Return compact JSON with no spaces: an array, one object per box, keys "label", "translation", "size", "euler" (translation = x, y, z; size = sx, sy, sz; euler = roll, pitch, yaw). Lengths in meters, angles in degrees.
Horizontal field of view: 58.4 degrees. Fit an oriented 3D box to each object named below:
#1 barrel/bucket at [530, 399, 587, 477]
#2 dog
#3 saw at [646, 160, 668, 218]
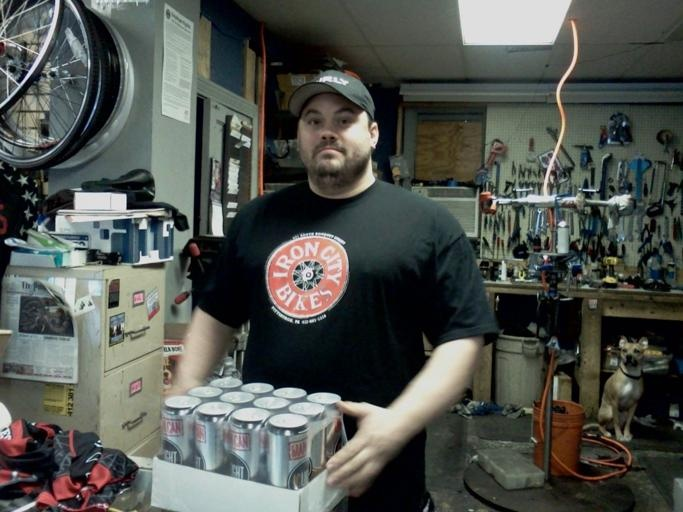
[{"label":"barrel/bucket","translation":[1.528,1.264,4.426],"size":[0.431,0.530,0.458],"euler":[-1,0,0]},{"label":"dog","translation":[2.324,1.082,5.104],"size":[0.372,0.852,0.329],"euler":[2,2,24]},{"label":"saw","translation":[3.331,-0.694,6.420],"size":[0.123,0.571,0.031],"euler":[11,11,30]}]
